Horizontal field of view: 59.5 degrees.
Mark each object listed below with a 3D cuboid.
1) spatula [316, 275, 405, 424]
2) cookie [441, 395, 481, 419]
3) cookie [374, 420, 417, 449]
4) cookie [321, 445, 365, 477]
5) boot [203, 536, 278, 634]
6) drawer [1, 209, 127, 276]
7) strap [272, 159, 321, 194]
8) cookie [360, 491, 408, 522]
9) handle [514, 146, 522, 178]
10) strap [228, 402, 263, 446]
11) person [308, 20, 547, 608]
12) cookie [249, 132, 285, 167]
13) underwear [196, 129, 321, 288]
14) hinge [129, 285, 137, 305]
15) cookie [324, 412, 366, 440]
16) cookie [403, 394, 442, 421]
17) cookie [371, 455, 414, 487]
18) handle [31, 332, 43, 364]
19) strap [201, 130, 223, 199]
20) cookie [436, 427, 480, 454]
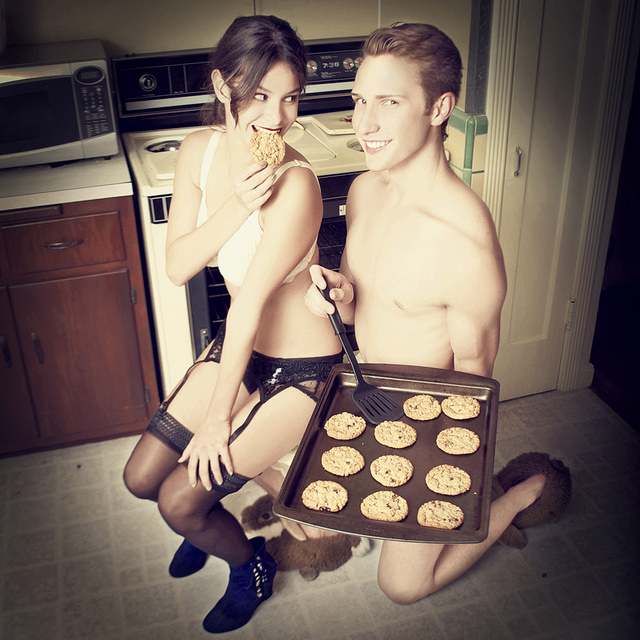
[{"bbox_3d":[0.075,0.052,1.197,0.116,0.241,0.285,-12,31,-19],"label":"spatula"},{"bbox_3d":[0.295,0.183,1.179,0.078,0.016,0.071,11,32,20],"label":"cookie"},{"bbox_3d":[0.151,0.227,1.126,0.082,0.022,0.069,14,33,24],"label":"cookie"},{"bbox_3d":[0.041,0.270,1.073,0.090,0.026,0.066,-22,36,-33],"label":"cookie"},{"bbox_3d":[-0.233,0.694,1.619,0.130,0.210,0.305,14,24,34],"label":"boot"},{"bbox_3d":[-0.831,-0.241,1.810,0.331,0.163,0.210,-10,21,-21],"label":"drawer"},{"bbox_3d":[-0.067,-0.307,1.225,0.075,0.075,0.019,1,2,-19],"label":"strap"},{"bbox_3d":[0.110,0.321,0.967,0.077,0.019,0.080,11,32,20],"label":"cookie"},{"bbox_3d":[0.652,-0.518,1.847,0.031,0.103,0.010,-20,33,-30],"label":"handle"},{"bbox_3d":[-0.171,0.241,1.283,0.014,0.018,0.122,36,73,14],"label":"strap"},{"bbox_3d":[0.234,0.127,1.319,0.547,1.452,0.447,13,32,24],"label":"person"},{"bbox_3d":[-0.109,-0.344,1.139,0.071,0.059,0.109,-3,29,-4],"label":"cookie"},{"bbox_3d":[-0.175,-0.244,1.328,0.349,0.340,0.221,21,36,34],"label":"underwear"},{"bbox_3d":[-0.654,-0.085,1.944,0.026,0.075,0.006,-13,31,-20],"label":"hinge"},{"bbox_3d":[0.049,0.220,1.143,0.074,0.015,0.074,10,31,17],"label":"cookie"},{"bbox_3d":[0.215,0.186,1.189,0.082,0.018,0.071,-5,30,-7],"label":"cookie"},{"bbox_3d":[0.135,0.283,1.057,0.084,0.015,0.074,-22,36,-33],"label":"cookie"},{"bbox_3d":[-0.987,0.100,1.949,0.023,0.124,0.006,-3,29,-4],"label":"handle"},{"bbox_3d":[-0.270,-0.385,1.346,0.028,0.204,0.030,12,-8,8],"label":"strap"},{"bbox_3d":[0.269,0.238,1.104,0.076,0.012,0.074,22,36,34],"label":"cookie"}]
